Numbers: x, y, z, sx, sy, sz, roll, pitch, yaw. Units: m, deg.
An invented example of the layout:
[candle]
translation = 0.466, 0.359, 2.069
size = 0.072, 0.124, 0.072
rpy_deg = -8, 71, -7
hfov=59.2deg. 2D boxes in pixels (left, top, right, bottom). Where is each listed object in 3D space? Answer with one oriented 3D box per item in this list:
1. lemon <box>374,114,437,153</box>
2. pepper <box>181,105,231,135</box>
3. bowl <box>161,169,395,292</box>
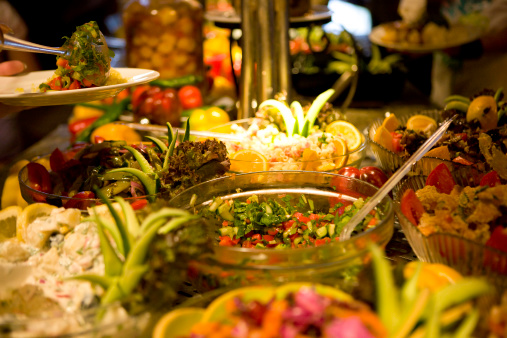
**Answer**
[lemon]
translation = 0.514, -0.131, 1.517
size = 0.185, 0.103, 0.182
rpy_deg = -12, 15, -11
[pepper]
translation = -0.220, -0.226, 2.140
size = 0.194, 0.174, 0.178
rpy_deg = 14, -3, 12
[bowl]
translation = 0.062, 0.138, 1.062
size = 0.522, 0.143, 0.331
rpy_deg = 0, 25, 2
